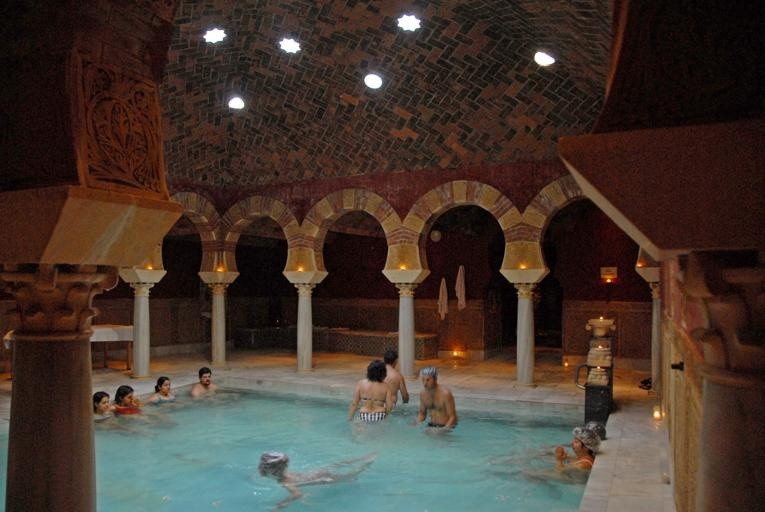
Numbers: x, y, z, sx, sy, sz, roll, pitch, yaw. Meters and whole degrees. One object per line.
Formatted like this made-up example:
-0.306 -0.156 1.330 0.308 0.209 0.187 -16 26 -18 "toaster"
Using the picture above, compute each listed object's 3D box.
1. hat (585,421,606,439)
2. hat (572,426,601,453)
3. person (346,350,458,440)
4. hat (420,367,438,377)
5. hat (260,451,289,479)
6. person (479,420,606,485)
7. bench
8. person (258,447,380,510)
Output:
2.868 2.360 6.888 0.206 0.253 0.279 3 20 27 "hat"
2.711 2.411 6.736 0.413 0.341 0.242 8 -14 -26 "hat"
0.329 2.174 8.381 1.753 1.236 1.040 -11 -18 44 "person"
0.690 1.736 7.688 0.179 0.202 0.219 -4 -22 24 "hat"
-1.398 2.689 6.566 0.350 0.283 0.270 7 -1 8 "hat"
2.118 2.662 6.921 1.535 0.812 0.696 0 4 13 "person"
-1.761 2.775 16.510 6.987 1.106 0.911 -4 -14 22 "bench"
-0.877 2.840 6.631 1.206 0.478 0.616 -2 -7 -23 "person"
